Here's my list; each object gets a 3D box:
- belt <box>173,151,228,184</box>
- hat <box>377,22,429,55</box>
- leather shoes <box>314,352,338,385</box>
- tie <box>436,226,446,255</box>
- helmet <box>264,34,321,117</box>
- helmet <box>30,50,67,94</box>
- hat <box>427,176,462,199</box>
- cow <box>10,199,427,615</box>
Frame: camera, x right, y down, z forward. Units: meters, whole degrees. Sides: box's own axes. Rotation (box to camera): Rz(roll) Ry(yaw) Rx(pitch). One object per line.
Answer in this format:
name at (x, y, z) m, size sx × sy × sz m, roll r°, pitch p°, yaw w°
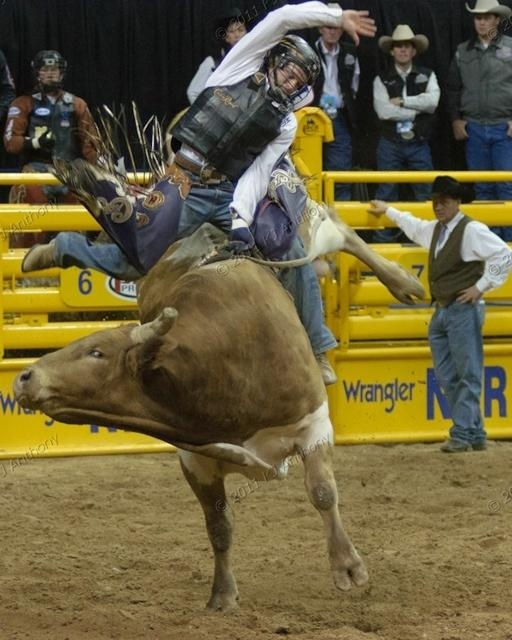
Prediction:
belt at (-0.240, -0.666, 5.065) m, size 0.182 × 0.062 × 0.134 m, roll 26°, pitch -3°, yaw -24°
hat at (1.253, -2.395, 9.691) m, size 0.293 × 0.110 × 0.298 m, roll -1°, pitch -10°, yaw 2°
leather shoes at (0.401, 0.262, 6.196) m, size 0.086 × 0.088 × 0.218 m, roll -7°, pitch 29°, yaw -7°
tie at (1.283, -0.550, 7.862) m, size 0.053 × 0.205 × 0.092 m, roll -9°, pitch 15°, yaw -31°
helmet at (0.173, -1.083, 5.030) m, size 0.217 × 0.311 × 0.163 m, roll -7°, pitch 14°, yaw -29°
helmet at (-1.382, -1.681, 7.774) m, size 0.246 × 0.255 × 0.291 m, roll -6°, pitch 12°, yaw -23°
hat at (1.274, -0.890, 7.646) m, size 0.205 × 0.069 × 0.155 m, roll 7°, pitch -8°, yaw -32°
cow at (-0.289, 0.516, 4.835) m, size 1.389 × 1.757 × 0.823 m, roll -8°, pitch 15°, yaw -32°
